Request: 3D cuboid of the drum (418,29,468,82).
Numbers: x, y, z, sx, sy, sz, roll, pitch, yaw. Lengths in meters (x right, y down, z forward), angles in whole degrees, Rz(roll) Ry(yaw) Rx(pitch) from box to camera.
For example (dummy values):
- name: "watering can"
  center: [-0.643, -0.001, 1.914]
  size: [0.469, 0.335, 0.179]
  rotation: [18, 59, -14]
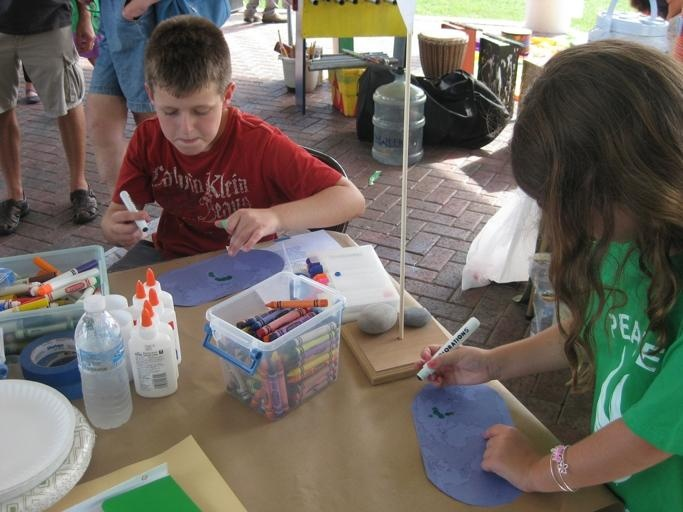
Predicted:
- name: "drum"
  center: [0.916, -1.815, 5.052]
  size: [0.508, 0.473, 0.502]
  rotation: [-28, 40, -36]

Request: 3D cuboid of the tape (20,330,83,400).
- name: "tape"
  center: [-0.643, 0.239, 1.341]
  size: [0.146, 0.157, 0.128]
  rotation: [14, 25, 27]

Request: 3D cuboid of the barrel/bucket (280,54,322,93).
- name: "barrel/bucket"
  center: [-0.428, -1.918, 5.910]
  size: [0.388, 0.294, 0.400]
  rotation: [-3, 16, 1]

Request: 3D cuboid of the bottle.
- name: "bottle"
  center: [-0.484, 0.223, 1.266]
  size: [0.117, 0.325, 0.239]
  rotation: [21, 30, 34]

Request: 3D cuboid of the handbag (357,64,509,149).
- name: "handbag"
  center: [0.732, -1.220, 4.612]
  size: [1.001, 0.407, 0.692]
  rotation: [-3, 29, -14]

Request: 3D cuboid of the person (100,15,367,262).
- name: "person"
  center: [-0.381, -0.362, 2.042]
  size: [0.646, 1.037, 0.725]
  rotation: [4, 34, 6]

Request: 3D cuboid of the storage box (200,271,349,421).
- name: "storage box"
  center: [-0.147, 0.212, 1.334]
  size: [0.316, 0.207, 0.267]
  rotation: [-19, 31, -33]

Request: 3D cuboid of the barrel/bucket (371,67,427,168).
- name: "barrel/bucket"
  center: [0.469, -1.150, 4.583]
  size: [0.467, 0.715, 0.462]
  rotation: [0, 27, 0]
